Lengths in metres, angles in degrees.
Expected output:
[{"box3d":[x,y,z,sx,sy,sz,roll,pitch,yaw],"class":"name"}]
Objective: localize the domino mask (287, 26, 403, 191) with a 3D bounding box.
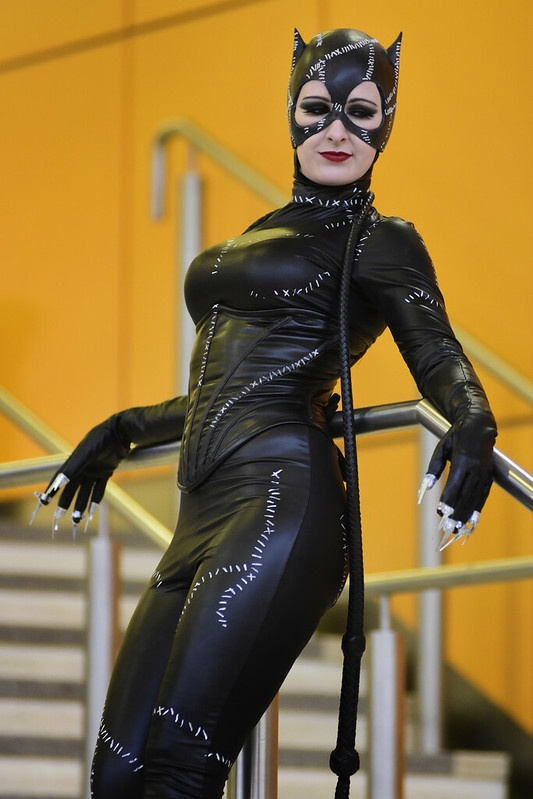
[{"box3d":[0.109,-0.437,1.779,0.174,0.220,0.150,4,0,-9],"class":"domino mask"}]
